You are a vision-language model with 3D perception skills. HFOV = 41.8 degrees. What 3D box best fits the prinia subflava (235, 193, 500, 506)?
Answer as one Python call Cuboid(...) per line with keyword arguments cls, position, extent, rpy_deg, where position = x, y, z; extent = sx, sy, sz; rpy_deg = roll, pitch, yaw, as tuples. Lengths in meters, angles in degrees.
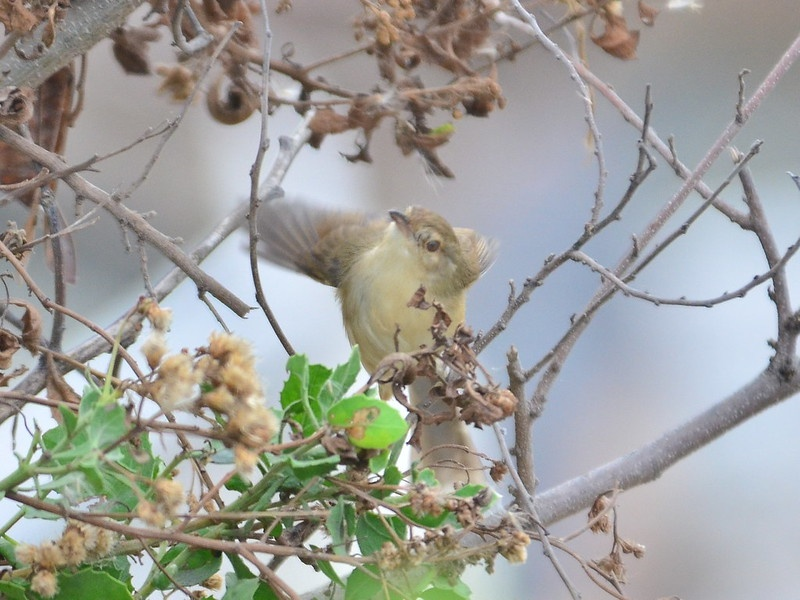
Cuboid(cls="prinia subflava", position=(-0.015, 0.002, 1.140), extent=(0.258, 0.140, 0.304), rpy_deg=(-13, -66, -17))
